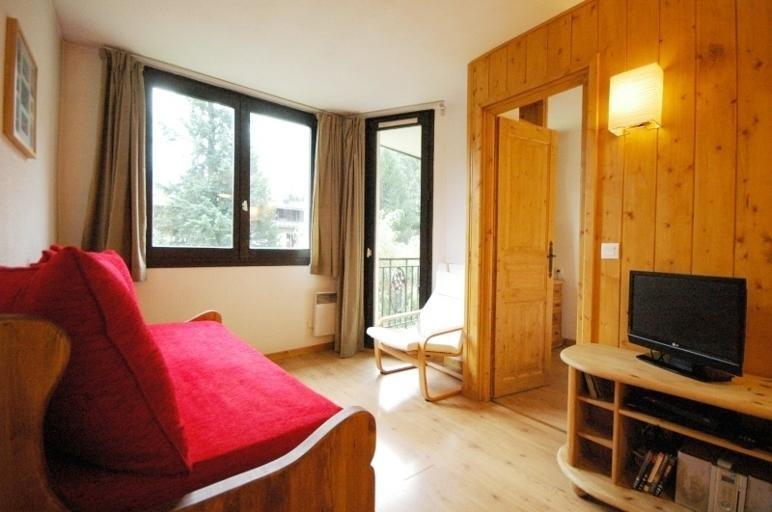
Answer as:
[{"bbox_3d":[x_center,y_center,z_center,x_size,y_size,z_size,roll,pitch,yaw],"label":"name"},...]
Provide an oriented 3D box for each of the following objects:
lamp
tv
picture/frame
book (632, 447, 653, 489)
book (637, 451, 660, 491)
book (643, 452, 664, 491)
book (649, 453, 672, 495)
[{"bbox_3d":[1.666,-1.045,3.823,0.155,0.439,0.298,-4,6,-39],"label":"lamp"},{"bbox_3d":[1.899,0.448,3.543,0.326,0.642,0.701,2,-3,-39],"label":"tv"},{"bbox_3d":[-2.383,-1.078,3.742,0.115,0.826,0.594,-2,5,-21],"label":"picture/frame"},{"bbox_3d":[1.633,1.337,3.635,0.146,0.228,0.084,20,-3,-20],"label":"book"},{"bbox_3d":[1.643,1.338,3.586,0.065,0.217,0.170,21,-7,33],"label":"book"},{"bbox_3d":[1.674,1.356,3.615,0.064,0.211,0.168,15,-3,34],"label":"book"},{"bbox_3d":[1.707,1.353,3.546,0.071,0.229,0.170,14,23,1],"label":"book"}]
